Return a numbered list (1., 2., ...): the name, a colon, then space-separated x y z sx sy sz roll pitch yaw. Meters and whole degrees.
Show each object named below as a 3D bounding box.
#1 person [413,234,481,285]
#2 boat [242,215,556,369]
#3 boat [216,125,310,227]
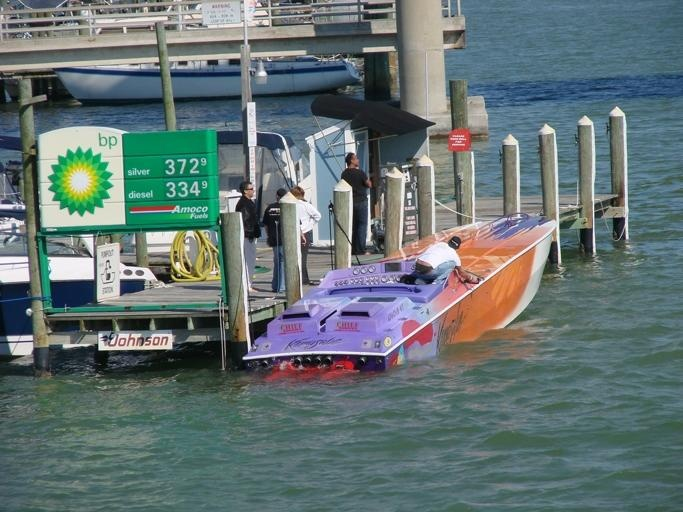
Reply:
1. person: 1.934 0.144 29.820 1.028 0.362 0.939 25 22 15
2. boat: 1.677 0.800 29.986 6.600 1.333 2.323 -19 28 -39
3. boat: -1.752 -1.970 34.073 1.484 2.051 2.193 7 39 17
